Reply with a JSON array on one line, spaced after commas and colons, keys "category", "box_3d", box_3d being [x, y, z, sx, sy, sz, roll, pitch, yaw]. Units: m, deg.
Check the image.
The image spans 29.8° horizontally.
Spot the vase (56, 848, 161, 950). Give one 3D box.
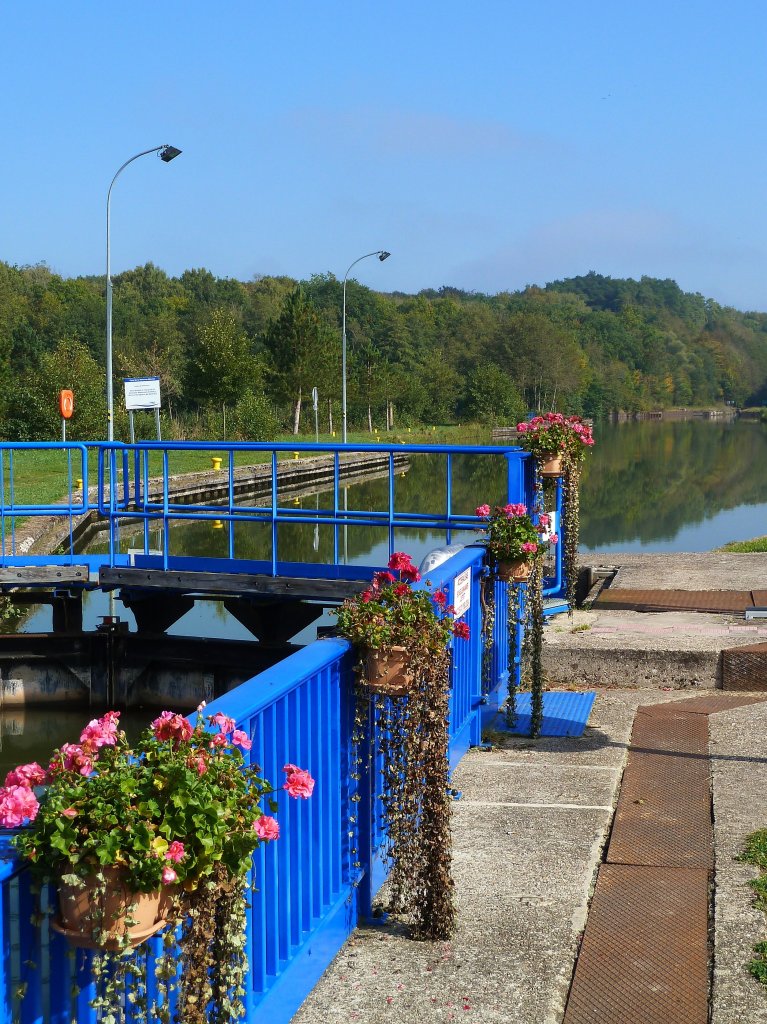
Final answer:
[{"category": "vase", "box_3d": [-0.568, 0.788, 2.966, 0.179, 0.132, 0.183, 5, -8, -11]}]

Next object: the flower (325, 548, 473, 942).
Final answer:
[{"category": "flower", "box_3d": [0.069, 0.812, 5.142, 0.449, 1.217, 0.756, -1, 6, 3]}]

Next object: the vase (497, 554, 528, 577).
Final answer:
[{"category": "vase", "box_3d": [0.693, 0.304, 7.723, 0.165, 0.115, 0.109, -1, 6, 2]}]

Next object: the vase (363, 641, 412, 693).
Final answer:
[{"category": "vase", "box_3d": [0.024, 0.508, 4.859, 0.154, 0.125, 0.159, 6, 3, 31]}]

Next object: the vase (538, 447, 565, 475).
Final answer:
[{"category": "vase", "box_3d": [1.180, -0.357, 10.177, 0.148, 0.172, 0.172, 2, 7, 5]}]
